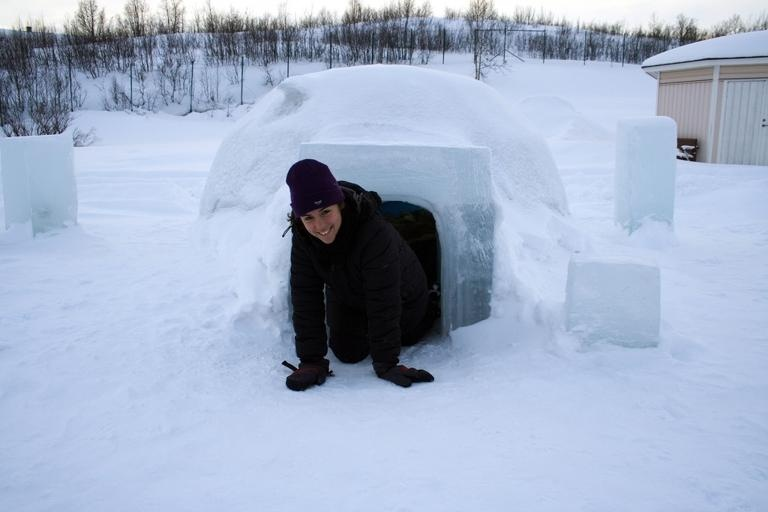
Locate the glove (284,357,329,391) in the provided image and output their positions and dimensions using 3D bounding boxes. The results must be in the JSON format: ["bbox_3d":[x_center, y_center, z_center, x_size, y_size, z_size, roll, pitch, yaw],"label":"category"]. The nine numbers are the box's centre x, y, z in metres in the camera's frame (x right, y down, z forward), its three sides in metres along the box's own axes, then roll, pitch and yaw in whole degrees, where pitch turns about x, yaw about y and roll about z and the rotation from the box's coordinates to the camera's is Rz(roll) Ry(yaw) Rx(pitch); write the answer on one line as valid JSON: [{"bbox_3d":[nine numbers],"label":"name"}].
[{"bbox_3d":[-0.479,0.777,3.505,0.301,0.163,0.250,-6,15,-12],"label":"glove"}]
